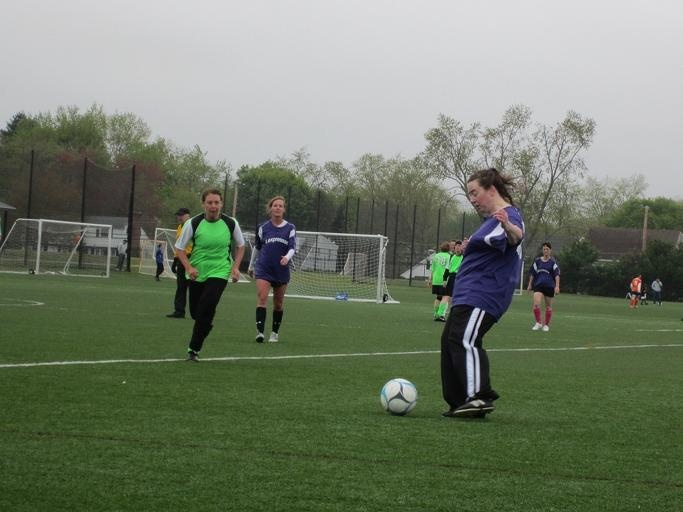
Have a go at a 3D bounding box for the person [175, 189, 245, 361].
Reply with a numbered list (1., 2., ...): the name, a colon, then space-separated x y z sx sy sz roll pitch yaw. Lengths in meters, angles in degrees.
1. person: -1.568 0.191 8.394 0.793 1.974 0.992 4 -3 -10

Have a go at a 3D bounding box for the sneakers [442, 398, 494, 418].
1. sneakers: 1.032 1.266 5.938 0.427 0.154 0.213 -5 40 4

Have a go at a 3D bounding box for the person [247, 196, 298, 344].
1. person: -1.008 0.183 10.449 0.615 2.109 1.012 4 -3 -7

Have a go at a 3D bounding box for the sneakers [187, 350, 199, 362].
1. sneakers: -1.666 1.123 8.036 0.136 0.099 0.163 -1 -10 25

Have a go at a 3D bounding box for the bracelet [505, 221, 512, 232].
1. bracelet: 1.339 -0.236 5.763 0.051 0.066 0.071 0 -11 11

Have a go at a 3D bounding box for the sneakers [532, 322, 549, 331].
1. sneakers: 4.193 1.506 15.082 0.161 0.182 0.452 3 -10 35

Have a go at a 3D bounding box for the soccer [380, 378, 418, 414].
1. soccer: 0.476 1.179 6.028 0.287 0.283 0.179 3 -3 3

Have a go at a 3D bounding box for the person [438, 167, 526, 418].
1. person: 1.166 0.294 5.983 0.631 2.095 0.535 3 -3 10
